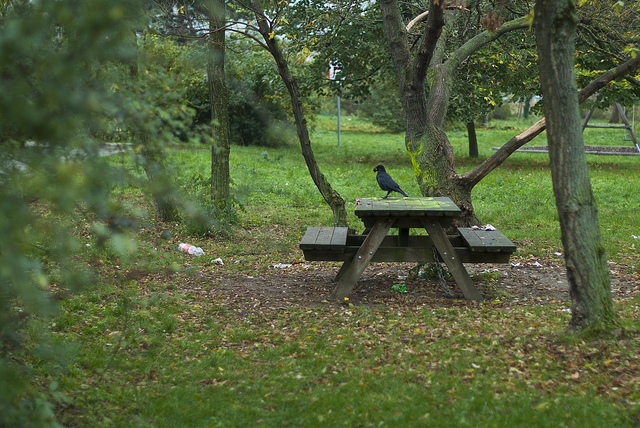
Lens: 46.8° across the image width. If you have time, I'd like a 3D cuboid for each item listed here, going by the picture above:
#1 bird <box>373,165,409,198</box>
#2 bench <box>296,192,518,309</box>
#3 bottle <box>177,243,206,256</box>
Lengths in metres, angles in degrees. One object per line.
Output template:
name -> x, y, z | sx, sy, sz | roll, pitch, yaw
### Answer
bird -> 1.249, -0.591, 13.262 | 0.619, 0.613, 0.308 | -1, 5, 31
bench -> 1.411, 0.436, 12.687 | 3.145, 1.490, 2.087 | 1, 7, 0
bottle -> -2.542, 0.712, 14.762 | 0.683, 0.213, 0.233 | 11, 11, 12
